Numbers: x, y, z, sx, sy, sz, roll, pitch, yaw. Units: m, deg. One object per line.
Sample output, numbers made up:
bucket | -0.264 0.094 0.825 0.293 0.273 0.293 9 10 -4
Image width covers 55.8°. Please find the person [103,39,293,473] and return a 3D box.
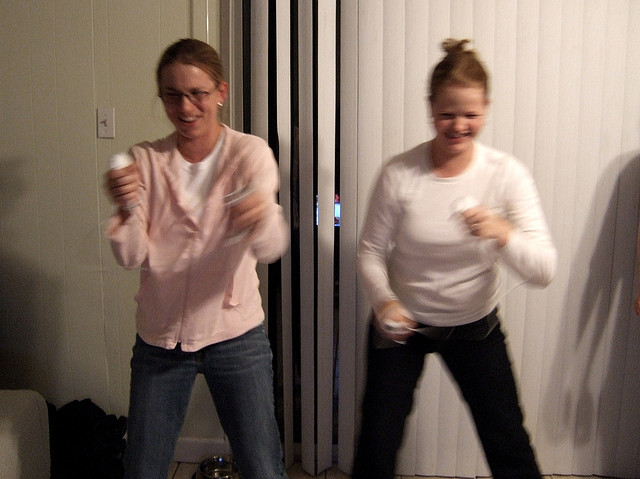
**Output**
person | -0.358 0.089 1.802 0.522 1.315 0.294 -3 12 -5

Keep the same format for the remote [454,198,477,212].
remote | 0.391 -0.092 1.623 0.059 0.037 0.014 4 13 24

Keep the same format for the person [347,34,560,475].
person | 0.368 0.110 1.720 0.561 1.300 0.189 0 12 9

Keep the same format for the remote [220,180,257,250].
remote | -0.240 -0.075 1.696 0.108 0.157 0.049 34 2 -28

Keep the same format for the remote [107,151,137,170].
remote | -0.550 -0.219 1.678 0.051 0.064 0.061 4 15 15

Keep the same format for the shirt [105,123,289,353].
shirt | -0.370 0.008 1.767 0.463 0.699 0.450 3 5 -17

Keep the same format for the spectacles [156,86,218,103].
spectacles | -0.377 -0.398 1.691 0.143 0.028 0.036 0 15 9

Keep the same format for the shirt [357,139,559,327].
shirt | 0.370 0.014 1.715 0.529 0.516 0.368 11 36 21
